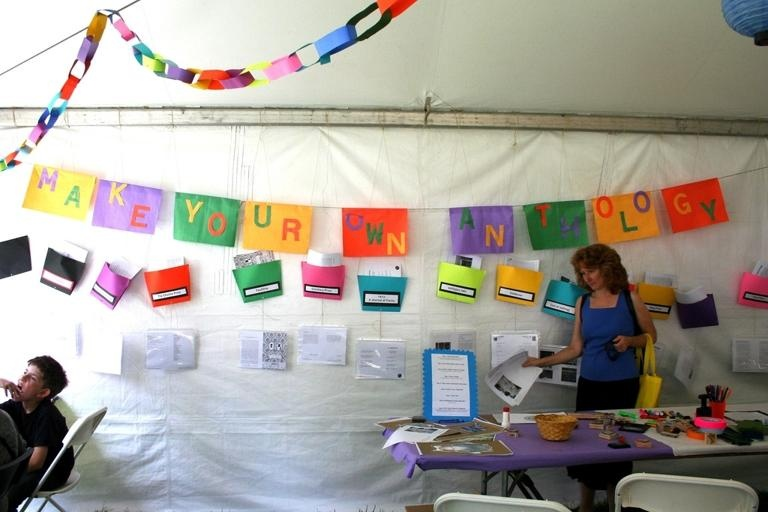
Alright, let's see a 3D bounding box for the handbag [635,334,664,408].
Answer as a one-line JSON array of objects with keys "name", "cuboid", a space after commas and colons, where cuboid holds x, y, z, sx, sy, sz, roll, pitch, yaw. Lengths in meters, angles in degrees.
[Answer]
[{"name": "handbag", "cuboid": [1.858, 0.811, 3.864, 0.243, 0.493, 0.137, 3, -6, -30]}]
